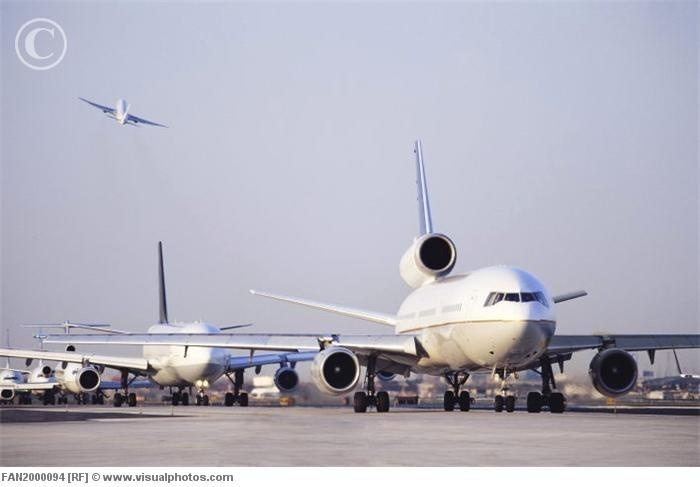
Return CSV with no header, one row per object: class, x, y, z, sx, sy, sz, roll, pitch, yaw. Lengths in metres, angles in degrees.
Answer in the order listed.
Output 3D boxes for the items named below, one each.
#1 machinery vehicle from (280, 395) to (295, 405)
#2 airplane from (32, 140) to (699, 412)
machinery vehicle,-2.763,6.960,46.309,0.797,0.445,0.568,-3,-4,16
airplane,2.972,2.415,34.065,15.223,6.888,5.670,-9,-20,19
